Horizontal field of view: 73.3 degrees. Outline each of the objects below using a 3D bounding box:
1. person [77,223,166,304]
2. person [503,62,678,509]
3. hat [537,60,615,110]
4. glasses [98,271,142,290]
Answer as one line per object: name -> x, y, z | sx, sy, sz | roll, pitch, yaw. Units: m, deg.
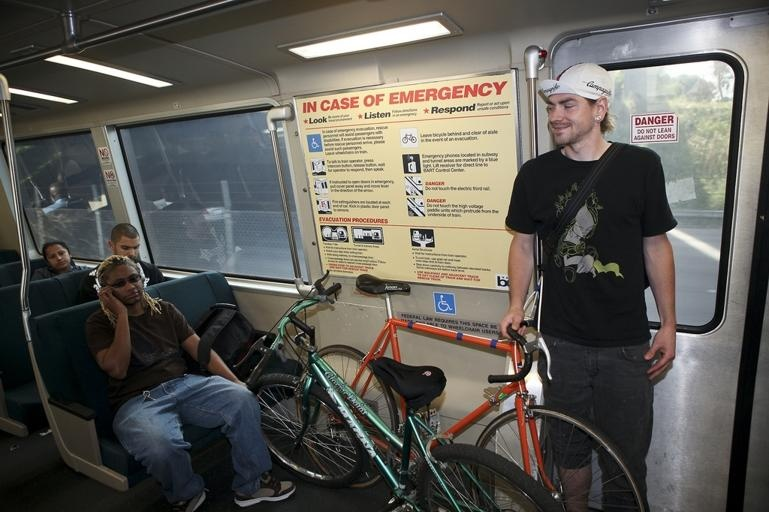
person -> -2.708, 0.060, 5.409 | 0.497, 0.726, 0.878 | 8, 10, 39
person -> 1.400, 0.169, 3.559 | 1.059, 2.858, 0.333 | 2, 14, 27
hat -> 1.268, -1.110, 3.449 | 0.389, 0.213, 0.262 | 18, 13, -9
glasses -> -2.211, 0.199, 4.356 | 0.186, 0.093, 0.228 | -14, -2, -37
